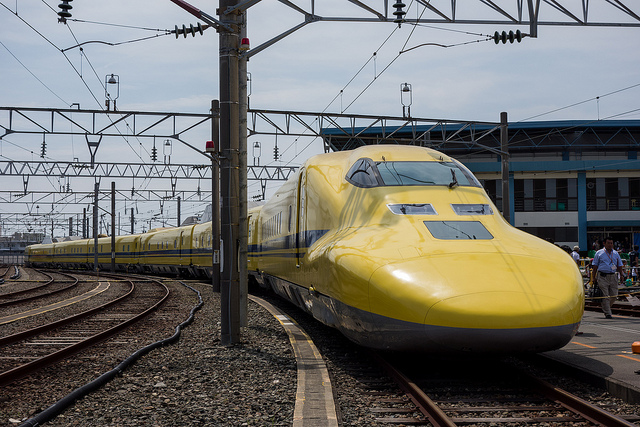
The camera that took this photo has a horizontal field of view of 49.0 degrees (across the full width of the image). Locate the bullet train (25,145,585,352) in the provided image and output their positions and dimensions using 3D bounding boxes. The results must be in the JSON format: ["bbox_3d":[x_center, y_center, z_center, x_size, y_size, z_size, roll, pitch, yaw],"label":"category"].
[{"bbox_3d":[-1.416,0.282,25.974,4.322,3.537,31.620,-5,3,-19],"label":"bullet train"}]
